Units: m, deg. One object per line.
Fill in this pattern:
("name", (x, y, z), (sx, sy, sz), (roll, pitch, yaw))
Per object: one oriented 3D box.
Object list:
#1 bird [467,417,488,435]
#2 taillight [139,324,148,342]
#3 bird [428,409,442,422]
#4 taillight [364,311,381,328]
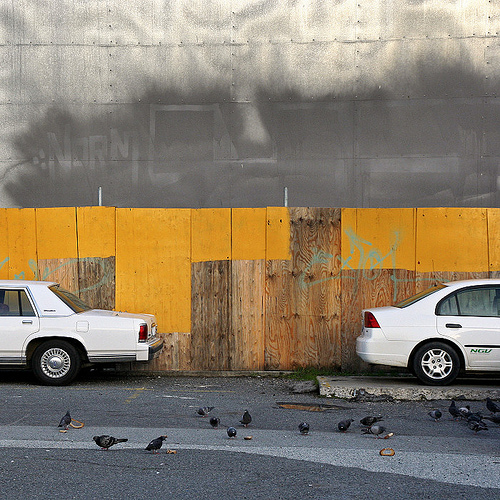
("bird", (2.902, 2.242, 15.785), (0.237, 0.117, 0.183), (10, 2, 5))
("taillight", (-1.613, 1.257, 18.738), (0.053, 0.266, 0.173), (-4, -5, 31))
("bird", (2.445, 2.161, 16.379), (0.165, 0.134, 0.085), (-7, -3, 33))
("taillight", (1.819, 1.038, 18.507), (0.092, 0.258, 0.354), (2, -6, -28))
